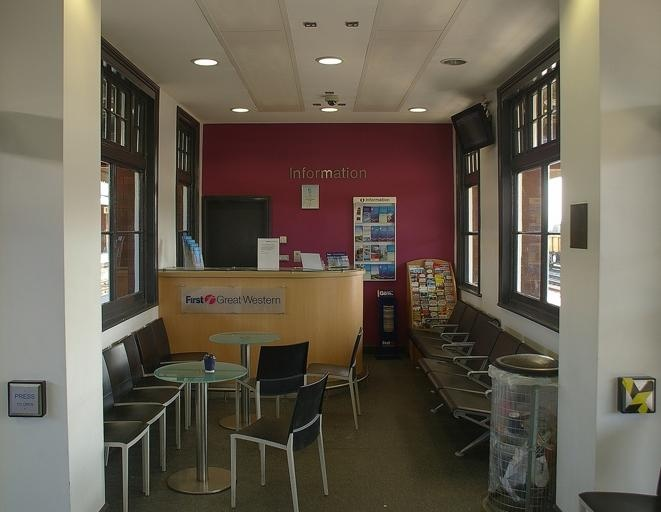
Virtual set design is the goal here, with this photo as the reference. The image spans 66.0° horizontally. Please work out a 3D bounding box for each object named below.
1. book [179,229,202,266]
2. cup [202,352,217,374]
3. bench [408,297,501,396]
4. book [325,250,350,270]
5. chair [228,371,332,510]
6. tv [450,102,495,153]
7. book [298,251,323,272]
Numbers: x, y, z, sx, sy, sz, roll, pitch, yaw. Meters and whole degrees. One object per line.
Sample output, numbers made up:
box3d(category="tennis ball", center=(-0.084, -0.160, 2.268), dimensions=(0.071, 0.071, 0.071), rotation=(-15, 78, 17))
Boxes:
box3d(category="book", center=(-1.884, -0.118, 6.777), dimensions=(0.221, 0.653, 0.468), rotation=(-4, 3, -2))
box3d(category="cup", center=(-1.005, 0.872, 4.214), dimensions=(0.118, 0.176, 0.135), rotation=(-1, -2, 6))
box3d(category="bench", center=(1.499, 1.339, 6.287), dimensions=(0.640, 0.632, 1.499), rotation=(-3, 3, 0))
box3d(category="book", center=(0.082, 0.064, 6.506), dimensions=(0.326, 0.253, 0.187), rotation=(0, -4, -13))
box3d(category="chair", center=(-0.413, 1.418, 4.108), dimensions=(0.785, 0.986, 1.083), rotation=(-1, 0, -4))
box3d(category="tv", center=(1.822, -1.672, 6.514), dimensions=(0.093, 0.573, 0.751), rotation=(-19, 8, -11))
box3d(category="book", center=(-0.233, 0.076, 6.374), dimensions=(0.226, 0.238, 0.212), rotation=(-8, -41, 0))
